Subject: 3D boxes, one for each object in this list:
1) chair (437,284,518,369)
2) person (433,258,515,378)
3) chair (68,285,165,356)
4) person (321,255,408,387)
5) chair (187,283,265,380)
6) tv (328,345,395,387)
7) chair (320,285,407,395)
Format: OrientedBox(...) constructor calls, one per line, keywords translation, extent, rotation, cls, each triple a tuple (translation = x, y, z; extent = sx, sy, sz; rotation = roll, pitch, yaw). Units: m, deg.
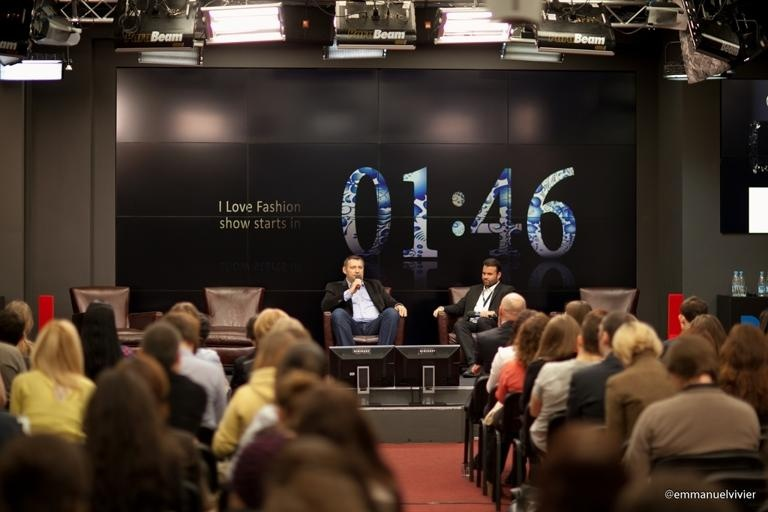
OrientedBox(translation=(1.153, 0.720, 8.822), extent=(0.651, 1.372, 0.738), rotation=(-7, -17, 34), cls="chair")
OrientedBox(translation=(1.105, 0.745, 8.843), extent=(0.775, 1.436, 0.895), rotation=(0, -9, 28), cls="person")
OrientedBox(translation=(-3.273, 0.895, 8.609), extent=(0.973, 1.090, 0.907), rotation=(-4, -4, 43), cls="chair")
OrientedBox(translation=(-0.250, 0.748, 8.959), extent=(1.019, 1.534, 1.005), rotation=(-1, -7, -24), cls="person")
OrientedBox(translation=(-1.886, 0.950, 9.014), extent=(1.102, 1.506, 1.016), rotation=(0, -10, -1), cls="chair")
OrientedBox(translation=(-0.210, 0.986, 6.527), extent=(0.713, 0.500, 0.189), rotation=(0, 8, -3), cls="tv")
OrientedBox(translation=(-0.200, 0.916, 6.972), extent=(0.627, 0.855, 0.649), rotation=(1, -13, -2), cls="chair")
